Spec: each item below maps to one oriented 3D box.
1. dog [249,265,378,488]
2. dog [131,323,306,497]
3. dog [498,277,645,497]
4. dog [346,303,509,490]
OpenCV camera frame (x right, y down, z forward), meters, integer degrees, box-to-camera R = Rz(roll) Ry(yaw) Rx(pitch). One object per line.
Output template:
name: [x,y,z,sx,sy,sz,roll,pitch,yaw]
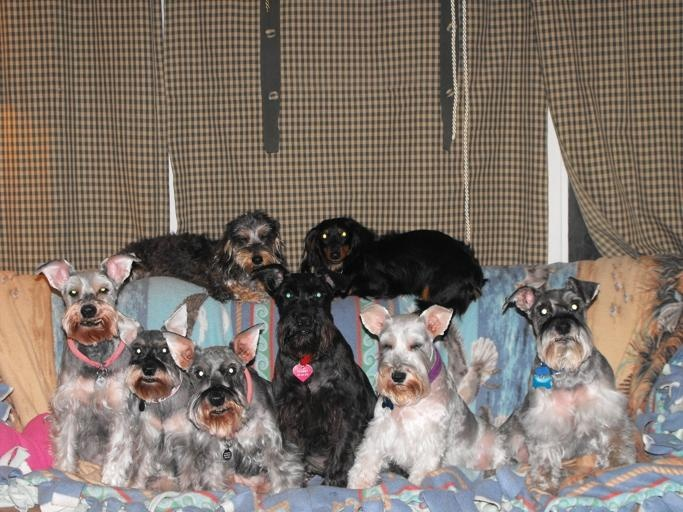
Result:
dog: [-0.062,1.138,8.260,0.739,1.447,2.393,-5,-26,14]
dog: [-0.861,1.181,7.906,1.116,1.404,1.725,-5,2,-3]
dog: [1.687,0.965,7.861,0.939,1.536,1.463,-8,-4,15]
dog: [0.632,1.039,7.494,0.674,0.900,1.875,-5,-36,12]
